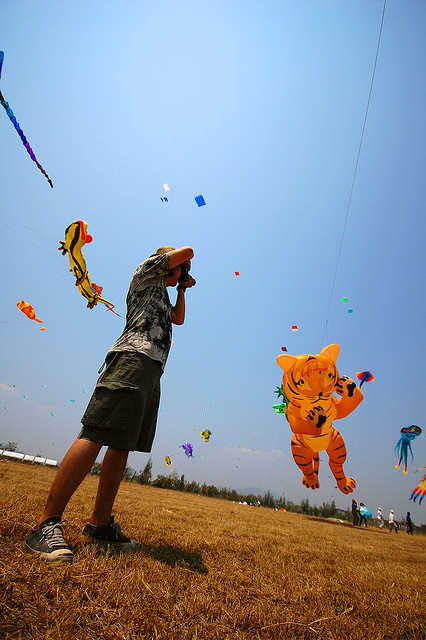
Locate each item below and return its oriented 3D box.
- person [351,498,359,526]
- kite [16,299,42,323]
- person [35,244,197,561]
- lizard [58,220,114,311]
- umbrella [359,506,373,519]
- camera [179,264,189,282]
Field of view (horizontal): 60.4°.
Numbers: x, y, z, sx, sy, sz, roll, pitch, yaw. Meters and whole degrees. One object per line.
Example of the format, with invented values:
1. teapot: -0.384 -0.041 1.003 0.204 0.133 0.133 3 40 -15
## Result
1. person: 4.921 6.681 12.775 0.227 0.714 1.189 0 -27 21
2. kite: -2.603 -0.159 5.190 0.335 0.097 0.115 51 -33 -16
3. person: -0.461 0.234 2.011 0.520 1.801 0.905 10 -22 -4
4. lizard: -1.124 -0.525 3.135 0.286 0.887 0.321 4 3 37
5. umbrella: 5.078 6.399 12.258 0.291 0.278 0.987 2 -27 20
6. camera: -0.195 -0.332 2.579 0.062 0.084 0.114 9 -24 3
